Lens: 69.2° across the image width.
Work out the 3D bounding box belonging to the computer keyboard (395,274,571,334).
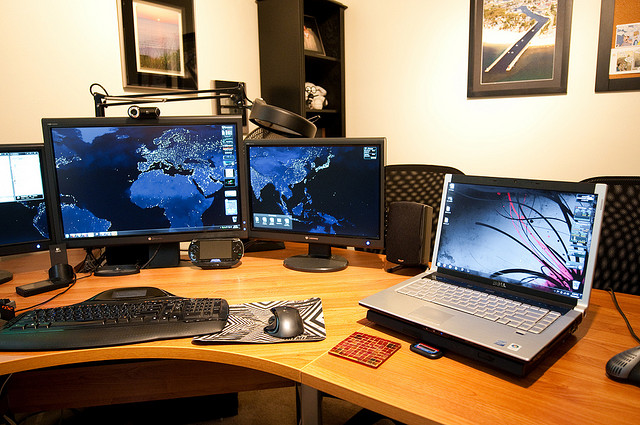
[{"bbox_3d":[0.571,0.328,1.727,0.607,0.024,0.273,9,20,42],"label":"computer keyboard"}]

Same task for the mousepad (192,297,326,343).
[{"bbox_3d":[-0.211,0.398,1.780,0.518,0.052,0.406,0,15,20],"label":"mousepad"}]

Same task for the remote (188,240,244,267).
[{"bbox_3d":[-0.482,0.191,2.203,0.308,0.150,0.060,-4,-11,26],"label":"remote"}]

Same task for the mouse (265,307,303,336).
[{"bbox_3d":[-0.134,0.402,1.706,0.137,0.077,0.108,-3,13,-7],"label":"mouse"}]

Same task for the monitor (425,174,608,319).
[{"bbox_3d":[0.853,0.024,1.958,0.695,0.451,0.581,10,15,33],"label":"monitor"}]
